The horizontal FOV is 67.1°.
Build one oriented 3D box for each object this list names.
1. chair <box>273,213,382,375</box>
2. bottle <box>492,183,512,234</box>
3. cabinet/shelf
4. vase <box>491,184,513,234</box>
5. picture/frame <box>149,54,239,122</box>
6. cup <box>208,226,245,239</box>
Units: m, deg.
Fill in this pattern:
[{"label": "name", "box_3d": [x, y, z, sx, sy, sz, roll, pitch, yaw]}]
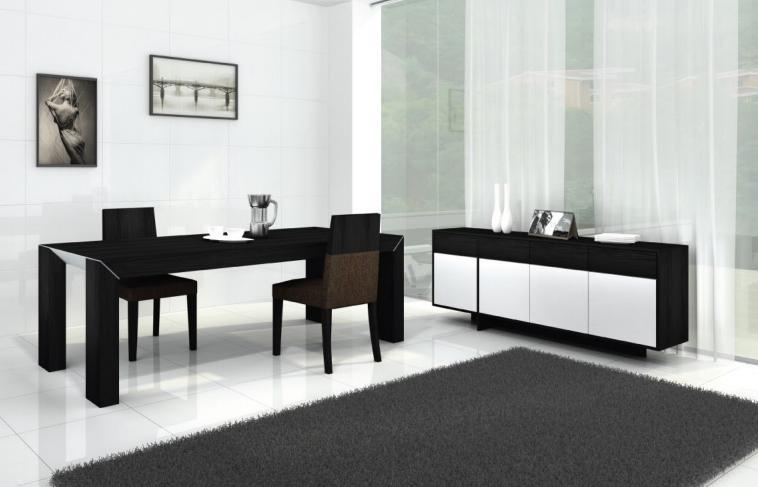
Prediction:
[{"label": "chair", "box_3d": [-0.488, 0.394, 5.313, 0.857, 1.383, 0.903, -1, 5, -36]}, {"label": "bottle", "box_3d": [1.319, -0.396, 6.210, 0.210, 0.496, 0.370, 1, 12, 10]}, {"label": "cabinet/shelf", "box_3d": [1.668, 0.456, 5.576, 2.336, 1.060, 0.402, 7, 15, 32]}, {"label": "vase", "box_3d": [1.319, -0.392, 6.211, 0.210, 0.488, 0.370, 1, 12, 10]}, {"label": "picture/frame", "box_3d": [-2.175, -1.796, 6.566, 0.876, 0.570, 0.033, -3, 7, -35]}, {"label": "cup", "box_3d": [-1.406, -0.100, 5.216, 0.260, 0.090, 0.177, -2, 0, 40]}]
